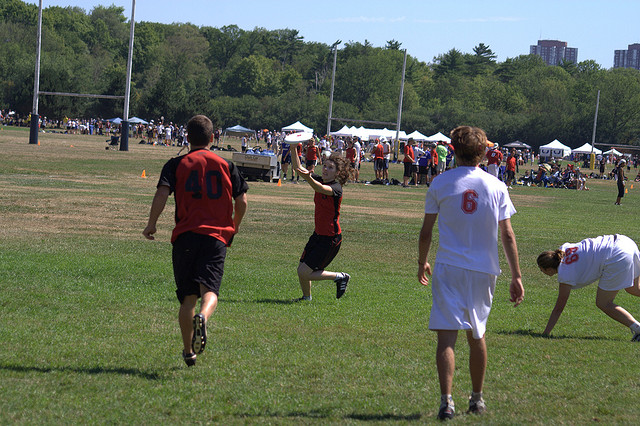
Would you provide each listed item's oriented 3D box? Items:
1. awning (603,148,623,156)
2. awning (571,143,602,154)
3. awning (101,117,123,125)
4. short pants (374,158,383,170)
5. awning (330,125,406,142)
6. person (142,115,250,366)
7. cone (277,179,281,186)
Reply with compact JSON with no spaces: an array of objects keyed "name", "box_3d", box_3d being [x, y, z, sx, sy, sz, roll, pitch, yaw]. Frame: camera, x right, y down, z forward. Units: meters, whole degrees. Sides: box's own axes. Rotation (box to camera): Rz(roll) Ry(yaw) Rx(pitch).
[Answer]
[{"name":"awning","box_3d":[29.961,-6.295,82.220,1.719,0.729,1.678,1,3,14]},{"name":"awning","box_3d":[26.329,-6.436,80.573,2.567,0.989,2.450,0,1,-6]},{"name":"awning","box_3d":[-20.840,-9.612,82.661,1.813,0.397,1.721,1,0,16]},{"name":"short pants","box_3d":[2.613,-2.267,36.196,0.349,0.613,0.913,4,13,3]},{"name":"awning","box_3d":[4.862,-8.084,80.556,7.572,1.656,4.005,-2,8,-29]},{"name":"person","box_3d":[-1.844,0.407,11.703,1.061,3.554,1.217,8,14,20]},{"name":"cone","box_3d":[-1.624,-1.227,31.690,0.217,0.219,0.219,1,5,-4]}]
